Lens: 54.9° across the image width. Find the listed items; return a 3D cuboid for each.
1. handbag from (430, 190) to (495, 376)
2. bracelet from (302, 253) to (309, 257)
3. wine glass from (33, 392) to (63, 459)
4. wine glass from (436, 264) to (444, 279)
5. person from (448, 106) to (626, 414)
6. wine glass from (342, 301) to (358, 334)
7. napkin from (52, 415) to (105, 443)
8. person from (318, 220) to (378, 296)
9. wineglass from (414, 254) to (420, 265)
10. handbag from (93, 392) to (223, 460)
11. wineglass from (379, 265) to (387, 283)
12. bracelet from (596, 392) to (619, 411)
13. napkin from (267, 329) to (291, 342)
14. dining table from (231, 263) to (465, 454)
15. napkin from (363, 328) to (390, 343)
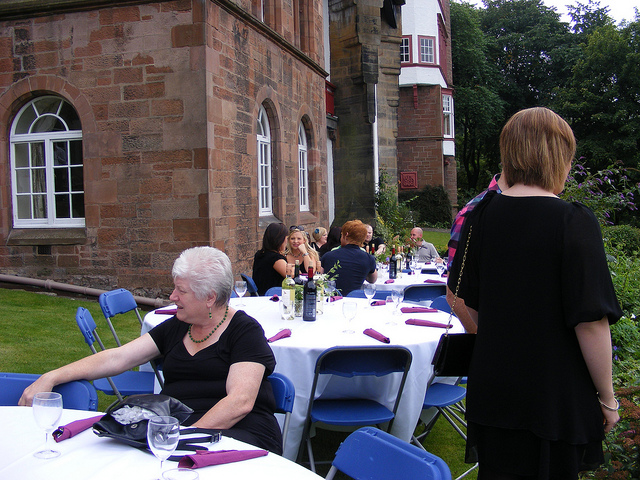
[{"bbox_3d":[0.726,0.282,3.451,0.084,0.926,0.337,9,-7,19],"label":"handbag"},{"bbox_3d":[-0.181,0.174,7.318,0.047,0.029,0.204,-2,2,15],"label":"bracelet"},{"bbox_3d":[-1.295,0.864,2.901,0.126,0.278,0.181,-3,2,-26],"label":"wine glass"},{"bbox_3d":[1.528,0.372,7.708,0.091,0.167,0.108,0,-2,-26],"label":"wine glass"},{"bbox_3d":[1.081,0.105,3.183,0.845,1.570,0.336,-2,2,27],"label":"person"},{"bbox_3d":[0.216,0.570,4.675,0.100,0.225,0.319,-2,1,2],"label":"wine glass"},{"bbox_3d":[-1.204,0.902,3.066,0.062,0.047,0.313,18,17,29],"label":"napkin"},{"bbox_3d":[0.314,0.397,6.844,0.640,1.113,0.516,9,1,2],"label":"person"},{"bbox_3d":[1.342,0.268,8.593,0.099,0.172,0.101,0,15,2],"label":"wineglass"},{"bbox_3d":[-0.809,0.891,3.037,0.621,0.215,0.524,12,-4,34],"label":"handbag"},{"bbox_3d":[0.806,0.409,7.837,0.111,0.172,0.060,-1,-3,-6],"label":"wineglass"},{"bbox_3d":[1.418,0.799,3.042,0.074,0.023,0.092,-1,46,-41],"label":"bracelet"},{"bbox_3d":[-0.301,0.665,4.356,0.056,0.041,0.166,19,23,35],"label":"napkin"},{"bbox_3d":[0.286,0.811,4.794,1.412,0.397,1.426,1,11,39],"label":"dining table"},{"bbox_3d":[0.405,0.683,4.413,0.220,0.067,0.059,22,-10,45],"label":"napkin"}]
